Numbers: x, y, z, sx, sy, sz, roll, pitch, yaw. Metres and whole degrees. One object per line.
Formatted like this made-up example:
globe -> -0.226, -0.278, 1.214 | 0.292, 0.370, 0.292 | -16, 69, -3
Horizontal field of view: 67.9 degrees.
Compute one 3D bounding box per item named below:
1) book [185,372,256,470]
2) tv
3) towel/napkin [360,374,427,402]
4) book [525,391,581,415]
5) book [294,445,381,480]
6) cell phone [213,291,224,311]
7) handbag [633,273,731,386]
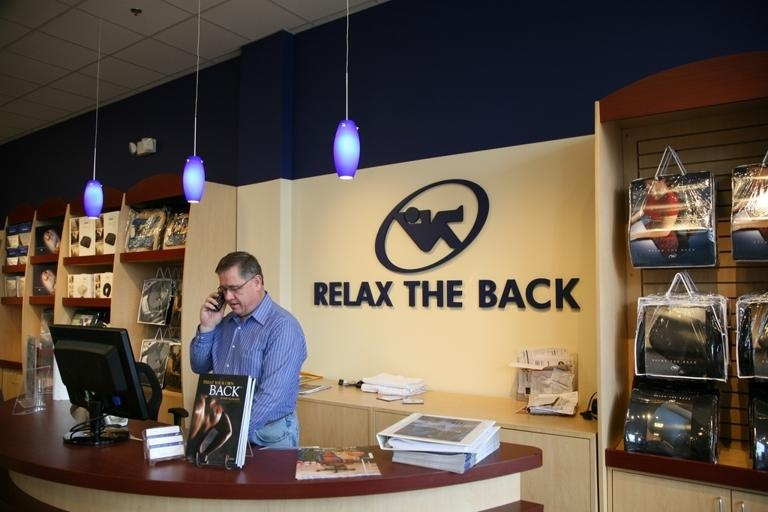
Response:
book -> -0.946, 0.956, 3.335 | 0.362, 0.551, 0.169 | 3, -8, 15
tv -> -1.931, 0.890, 3.813 | 0.646, 0.675, 0.388 | 6, 4, 31
towel/napkin -> 0.108, 1.171, 5.130 | 0.450, 0.149, 0.511 | 0, 3, -37
book -> 1.319, 1.150, 4.432 | 0.252, 0.083, 0.210 | -1, 1, 21
book -> -0.267, 1.210, 3.355 | 0.493, 0.066, 0.371 | 2, 2, -1
cell phone -> -1.166, 0.322, 4.066 | 0.030, 0.121, 0.115 | 6, 3, 5
handbag -> 2.038, 0.487, 3.906 | 0.554, 0.741, 0.293 | 2, 2, 31
